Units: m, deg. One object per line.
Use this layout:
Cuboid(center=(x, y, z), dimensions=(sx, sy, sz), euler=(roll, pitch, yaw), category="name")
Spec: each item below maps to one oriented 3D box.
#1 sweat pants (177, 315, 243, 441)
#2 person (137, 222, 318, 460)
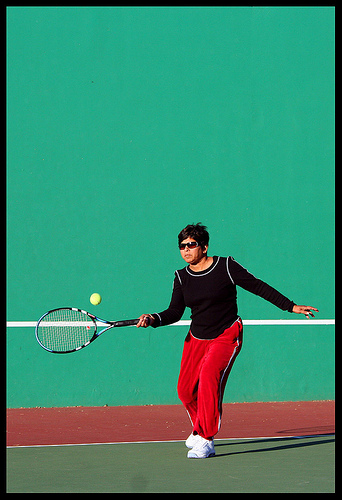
Cuboid(center=(0.224, 0.822, 3.872), dimensions=(0.293, 0.731, 0.482), euler=(7, -19, -44), category="sweat pants")
Cuboid(center=(0.435, 0.822, 5.405), dimensions=(1.153, 1.948, 1.409), euler=(20, -26, -41), category="person")
